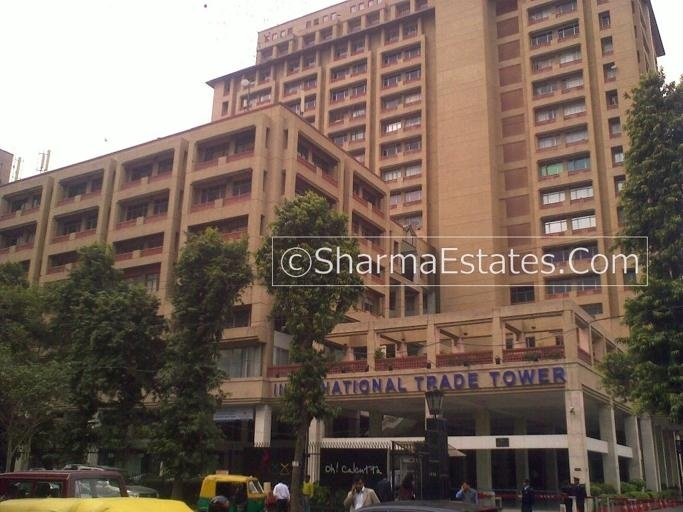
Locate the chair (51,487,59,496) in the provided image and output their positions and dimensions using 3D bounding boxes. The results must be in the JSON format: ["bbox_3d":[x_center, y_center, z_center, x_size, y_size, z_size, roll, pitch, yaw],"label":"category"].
[{"bbox_3d":[-8.669,7.103,21.234,0.231,0.221,0.123,-2,-9,9],"label":"chair"}]

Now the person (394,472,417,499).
[{"bbox_3d":[2.708,9.615,29.308,0.664,1.004,1.558,-1,-21,6],"label":"person"}]
